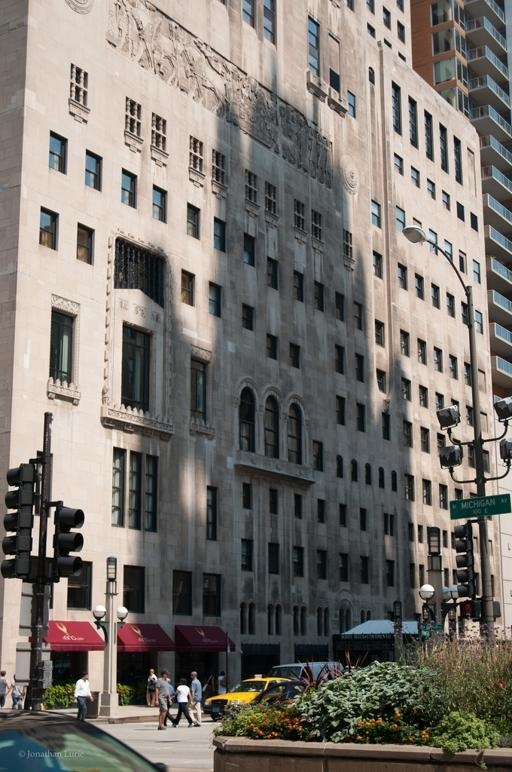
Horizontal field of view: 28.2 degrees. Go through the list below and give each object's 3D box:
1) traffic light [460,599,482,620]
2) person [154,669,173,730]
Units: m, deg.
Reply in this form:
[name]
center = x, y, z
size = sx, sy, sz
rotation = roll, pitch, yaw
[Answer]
[traffic light]
center = 4.389, 4.511, 20.744
size = 0.333, 0.485, 1.755
rotation = -4, -16, 8
[person]
center = -2.539, 8.634, 28.336
size = 0.302, 1.614, 0.402
rotation = -1, -10, 20
